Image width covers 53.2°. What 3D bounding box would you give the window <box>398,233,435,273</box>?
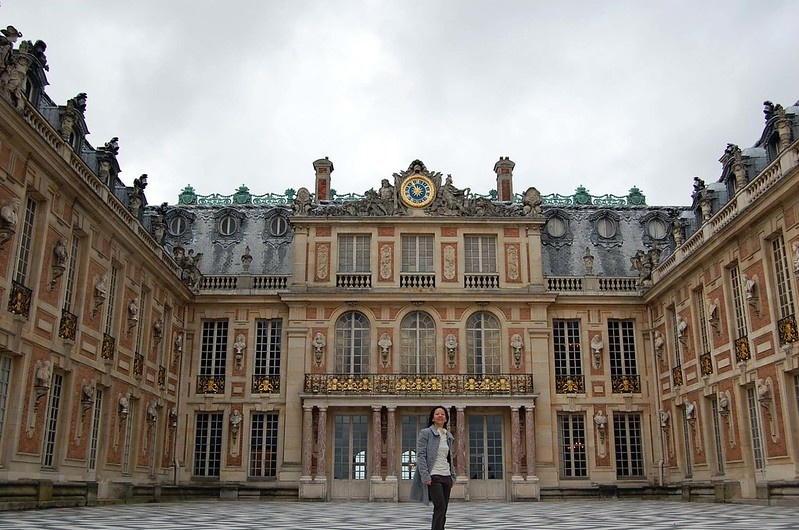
[{"bbox_3d":[0.796,-0.507,37.092,2.019,2.209,0.099,1,-17,-2],"label":"window"}]

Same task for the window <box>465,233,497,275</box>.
[{"bbox_3d":[3.770,-0.452,37.151,2.102,2.394,0.126,1,-15,-2],"label":"window"}]

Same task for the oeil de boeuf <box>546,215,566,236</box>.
[{"bbox_3d":[7.833,-1.937,39.874,1.068,1.206,0.131,3,-23,3],"label":"oeil de boeuf"}]

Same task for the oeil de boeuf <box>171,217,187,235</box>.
[{"bbox_3d":[-11.107,-1.928,40.066,0.903,1.021,0.103,-2,-20,-8],"label":"oeil de boeuf"}]

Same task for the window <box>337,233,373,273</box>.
[{"bbox_3d":[-2.074,-0.520,37.042,2.000,2.191,0.109,0,-17,-2],"label":"window"}]

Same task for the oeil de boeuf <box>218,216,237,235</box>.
[{"bbox_3d":[-8.645,-1.972,40.028,1.014,1.107,0.162,0,-23,-4],"label":"oeil de boeuf"}]

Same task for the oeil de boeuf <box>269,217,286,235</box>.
[{"bbox_3d":[-6.132,-1.946,39.917,0.980,1.107,0.156,0,-24,-5],"label":"oeil de boeuf"}]

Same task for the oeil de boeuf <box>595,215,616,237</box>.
[{"bbox_3d":[10.290,-1.916,39.925,1.080,1.176,0.197,4,-21,1],"label":"oeil de boeuf"}]
